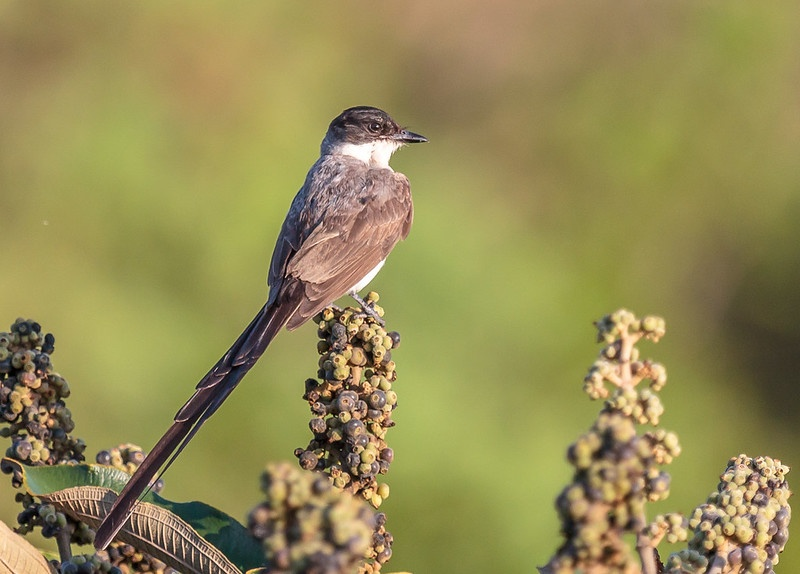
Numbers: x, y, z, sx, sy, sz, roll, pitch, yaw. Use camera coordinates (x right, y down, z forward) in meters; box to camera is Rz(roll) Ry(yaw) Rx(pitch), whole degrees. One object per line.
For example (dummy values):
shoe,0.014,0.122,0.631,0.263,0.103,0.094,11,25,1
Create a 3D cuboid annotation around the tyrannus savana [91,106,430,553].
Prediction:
tyrannus savana,-0.595,-0.056,5.932,0.568,2.457,1.113,20,-43,46
